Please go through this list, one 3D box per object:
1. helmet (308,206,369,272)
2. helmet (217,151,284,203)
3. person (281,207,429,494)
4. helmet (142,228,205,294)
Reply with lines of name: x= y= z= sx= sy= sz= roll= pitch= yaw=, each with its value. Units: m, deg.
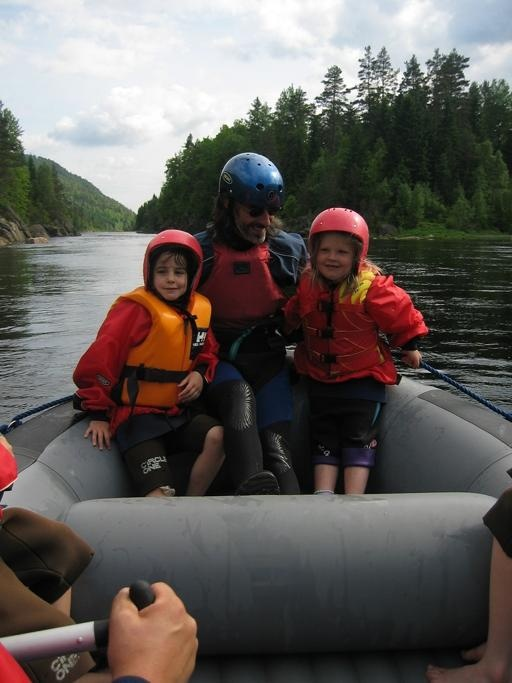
helmet: x=0.363 y=-0.450 z=2.548 sx=0.223 sy=0.221 sz=0.274 roll=4 pitch=-28 yaw=12
helmet: x=-0.028 y=-0.709 z=2.662 sx=0.235 sy=0.219 sz=0.280 roll=-1 pitch=54 yaw=-14
person: x=0.308 y=0.001 z=2.462 sx=0.598 sy=1.098 sz=0.569 roll=9 pitch=15 yaw=42
helmet: x=-0.350 y=-0.341 z=2.474 sx=0.218 sy=0.257 sz=0.237 roll=5 pitch=30 yaw=-10
